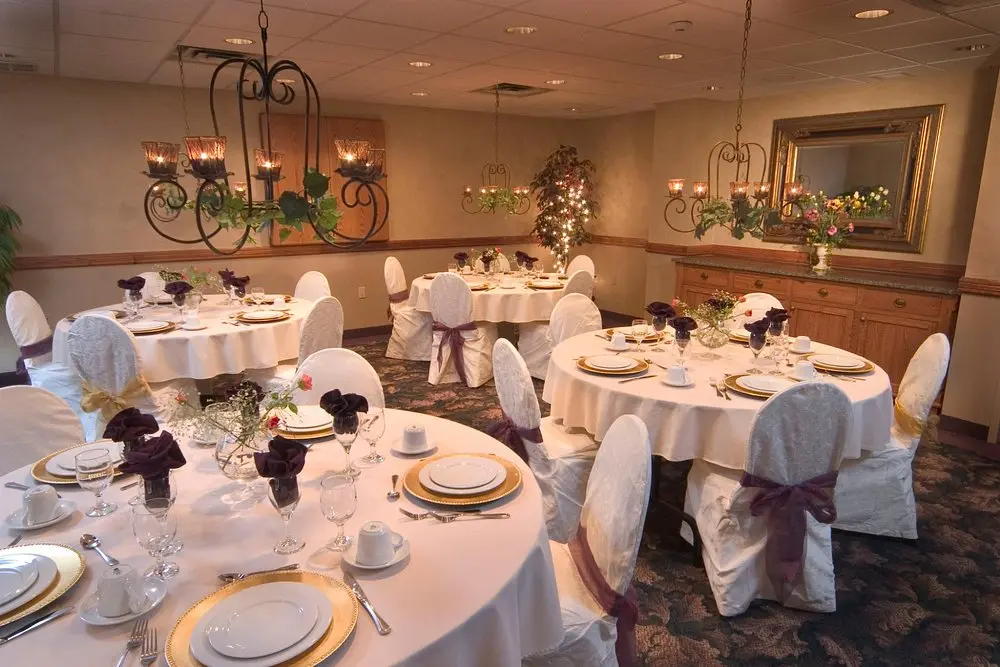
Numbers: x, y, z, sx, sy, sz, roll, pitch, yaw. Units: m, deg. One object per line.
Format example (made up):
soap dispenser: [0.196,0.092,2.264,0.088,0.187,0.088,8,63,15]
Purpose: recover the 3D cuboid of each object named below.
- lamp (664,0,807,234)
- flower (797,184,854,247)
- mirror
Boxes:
lamp: [2.056,-1.703,6.156,1.165,1.946,4.050,4,15,19]
flower: [3.438,-1.255,6.770,0.506,0.576,0.438,12,61,27]
mirror: [3.661,-1.607,6.592,0.077,1.490,1.716,-10,18,-38]
